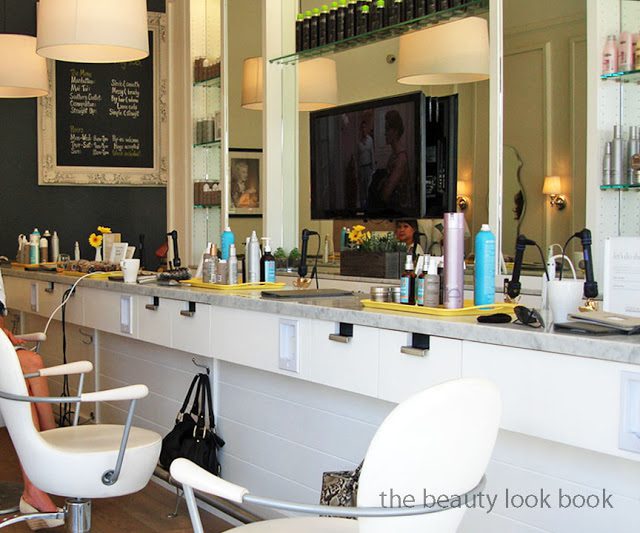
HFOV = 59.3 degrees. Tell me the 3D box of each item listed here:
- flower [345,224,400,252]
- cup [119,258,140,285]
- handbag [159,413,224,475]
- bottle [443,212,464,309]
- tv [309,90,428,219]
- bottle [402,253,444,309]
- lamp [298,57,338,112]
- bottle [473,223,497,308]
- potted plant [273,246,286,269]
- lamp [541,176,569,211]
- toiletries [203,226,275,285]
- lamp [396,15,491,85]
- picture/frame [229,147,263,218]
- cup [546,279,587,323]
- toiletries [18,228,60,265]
[{"bbox_3d":[0.274,-0.152,3.092,0.152,0.107,0.218,0,-1,-35],"label":"flower"},{"bbox_3d":[-1.109,0.027,3.261,0.118,0.164,0.150,2,4,26],"label":"cup"},{"bbox_3d":[-0.647,0.879,2.803,0.294,0.312,0.156,18,15,8],"label":"handbag"},{"bbox_3d":[0.426,-0.023,1.808,0.062,0.304,0.099,1,4,20],"label":"bottle"},{"bbox_3d":[0.250,-0.555,2.883,0.701,0.578,0.074,2,4,45],"label":"tv"},{"bbox_3d":[0.342,0.053,1.873,0.057,0.181,0.165,5,-6,-31],"label":"bottle"},{"bbox_3d":[-0.020,-1.278,3.912,0.314,0.364,0.320,1,13,10],"label":"lamp"},{"bbox_3d":[0.548,-0.006,1.871,0.060,0.269,0.061,-2,3,0],"label":"bottle"},{"bbox_3d":[-0.271,-0.059,3.744,0.100,0.164,0.108,-1,-6,-7],"label":"potted plant"},{"bbox_3d":[1.100,-0.344,2.644,0.093,0.158,0.072,7,4,-1],"label":"lamp"},{"bbox_3d":[-0.444,-0.062,2.825,0.275,0.269,0.358,-2,4,-28],"label":"toiletries"},{"bbox_3d":[0.684,-1.115,2.963,0.338,0.272,0.388,-2,4,-11],"label":"lamp"},{"bbox_3d":[-0.544,-0.608,4.109,0.050,0.714,0.469,0,2,-40],"label":"picture/frame"},{"bbox_3d":[0.688,0.105,1.611,0.113,0.146,0.117,2,-5,0],"label":"cup"},{"bbox_3d":[-2.332,-0.167,4.619,0.301,0.286,0.615,-2,4,-29],"label":"toiletries"}]
